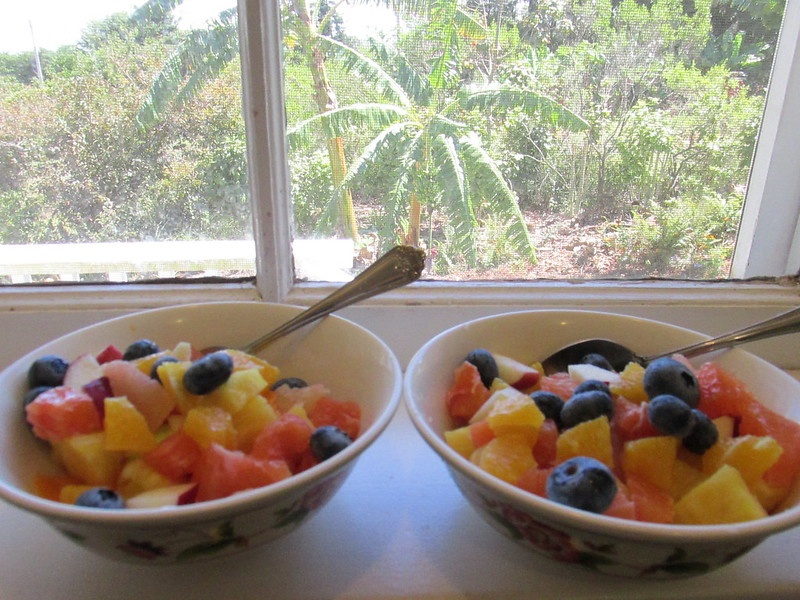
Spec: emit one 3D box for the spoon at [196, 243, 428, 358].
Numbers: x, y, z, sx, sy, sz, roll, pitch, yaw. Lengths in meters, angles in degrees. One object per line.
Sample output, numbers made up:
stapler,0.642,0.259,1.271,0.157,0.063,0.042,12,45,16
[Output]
spoon,-0.174,0.006,1.201,0.395,0.077,0.065,-28,-17,22
